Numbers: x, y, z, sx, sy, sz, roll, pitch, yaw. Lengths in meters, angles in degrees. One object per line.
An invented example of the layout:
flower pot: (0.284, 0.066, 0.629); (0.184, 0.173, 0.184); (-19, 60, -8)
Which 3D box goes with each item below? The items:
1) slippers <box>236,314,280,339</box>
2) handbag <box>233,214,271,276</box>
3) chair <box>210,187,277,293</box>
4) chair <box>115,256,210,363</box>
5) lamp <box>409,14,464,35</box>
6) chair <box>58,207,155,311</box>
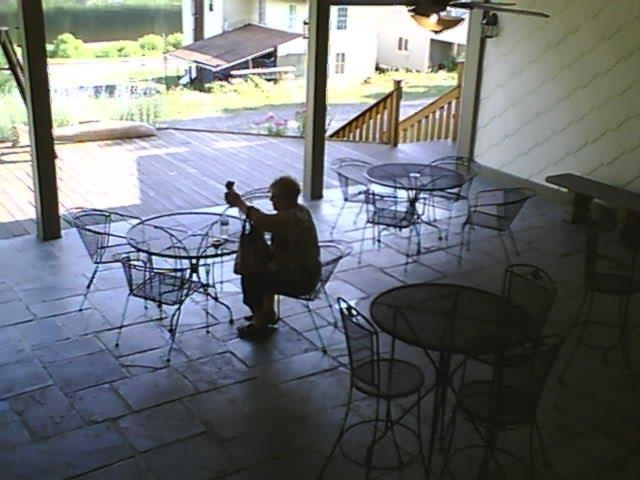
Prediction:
slippers: (-0.623, 0.839, 5.464); (0.329, 0.093, 0.209); (7, 28, 19)
handbag: (-0.639, 0.066, 5.237); (0.338, 0.538, 0.273); (-3, 26, -7)
chair: (-0.852, -0.258, 7.058); (0.711, 0.766, 0.331); (9, 5, 4)
chair: (-1.556, 0.525, 5.308); (0.810, 0.882, 1.058); (-9, 25, -20)
lamp: (0.993, -1.843, 4.780); (0.334, 0.209, 0.093); (21, 46, 1)
chair: (-2.345, 0.250, 6.122); (0.876, 0.966, 0.746); (-7, 45, -13)
